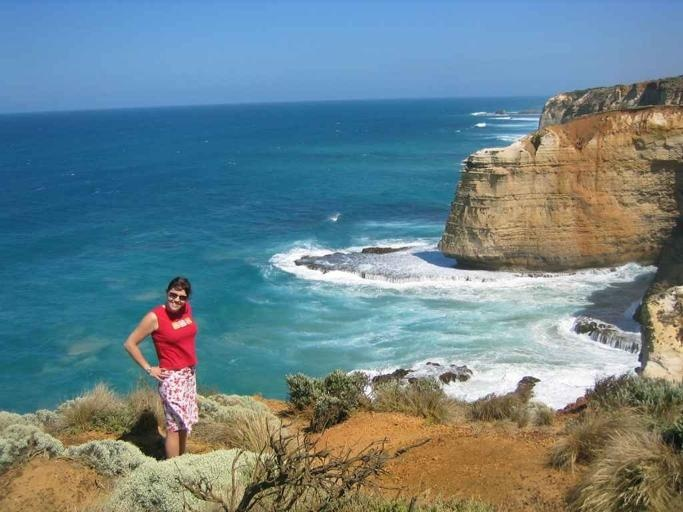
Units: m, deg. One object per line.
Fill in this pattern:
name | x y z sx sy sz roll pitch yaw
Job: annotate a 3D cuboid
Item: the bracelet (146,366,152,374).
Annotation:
bracelet | -3.803 2.238 12.650 0.119 0.111 0.046 -1 -21 -27
